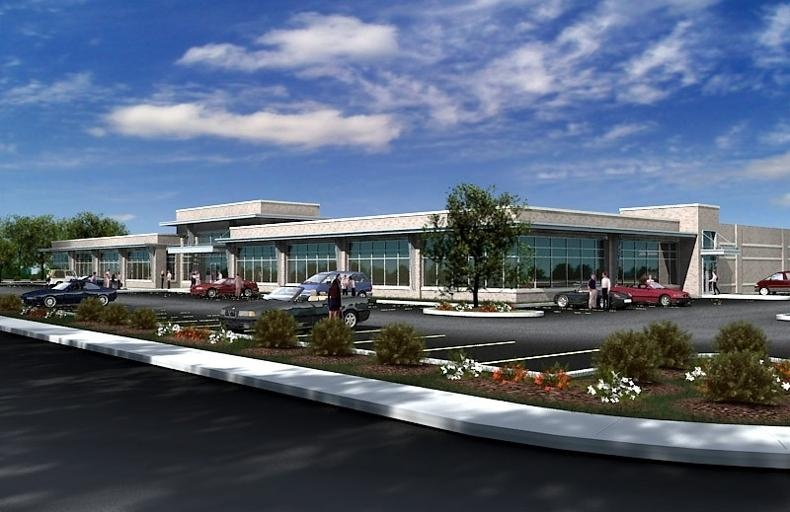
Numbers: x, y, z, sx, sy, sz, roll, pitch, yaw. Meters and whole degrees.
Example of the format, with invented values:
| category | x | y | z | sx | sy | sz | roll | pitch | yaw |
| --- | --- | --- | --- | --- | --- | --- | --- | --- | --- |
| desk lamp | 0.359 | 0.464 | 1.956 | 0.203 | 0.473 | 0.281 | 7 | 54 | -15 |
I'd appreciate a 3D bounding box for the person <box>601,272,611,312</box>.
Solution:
| category | x | y | z | sx | sy | sz | roll | pitch | yaw |
| --- | --- | --- | --- | --- | --- | --- | --- | --- | --- |
| person | 12.990 | 2.215 | 33.507 | 0.493 | 1.971 | 1.112 | 0 | 3 | 22 |
